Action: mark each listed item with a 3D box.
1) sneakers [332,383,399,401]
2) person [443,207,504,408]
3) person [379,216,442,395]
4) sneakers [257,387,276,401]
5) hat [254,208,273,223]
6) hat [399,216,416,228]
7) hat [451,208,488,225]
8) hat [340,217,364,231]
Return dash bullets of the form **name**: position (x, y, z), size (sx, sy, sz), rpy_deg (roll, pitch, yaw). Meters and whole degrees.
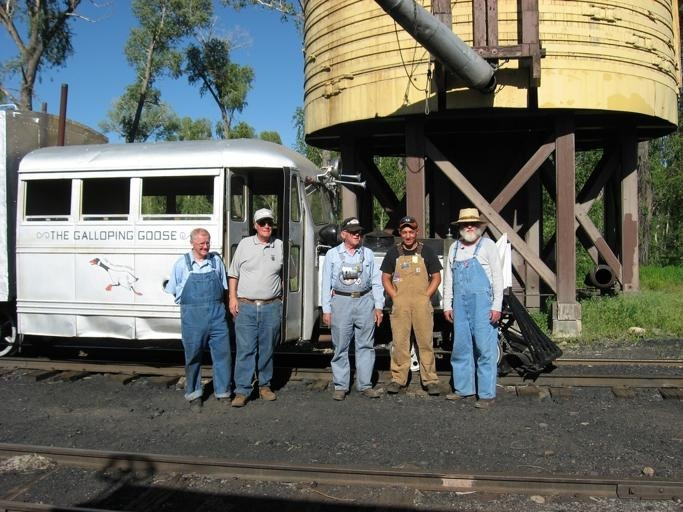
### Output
- **sneakers**: position (0.349, 2.000, 9.669), size (0.597, 0.128, 0.133), rpy_deg (-8, 10, 14)
- **person**: position (1.855, 0.705, 9.304), size (0.839, 2.727, 0.511), rpy_deg (-2, 3, 12)
- **person**: position (1.028, 0.739, 9.677), size (0.866, 2.611, 0.332), rpy_deg (-2, 3, 10)
- **sneakers**: position (-1.099, 2.014, 9.653), size (0.131, 0.134, 0.282), rpy_deg (3, -7, -43)
- **hat**: position (-1.144, -0.582, 9.579), size (0.267, 0.211, 0.203), rpy_deg (-4, 4, -15)
- **hat**: position (0.973, -0.478, 9.605), size (0.222, 0.168, 0.203), rpy_deg (-2, 4, 8)
- **hat**: position (2.234, -0.680, 11.371), size (0.484, 0.211, 0.583), rpy_deg (-2, -8, 23)
- **hat**: position (0.142, -0.465, 9.706), size (0.307, 0.193, 0.424), rpy_deg (-3, 4, 0)
